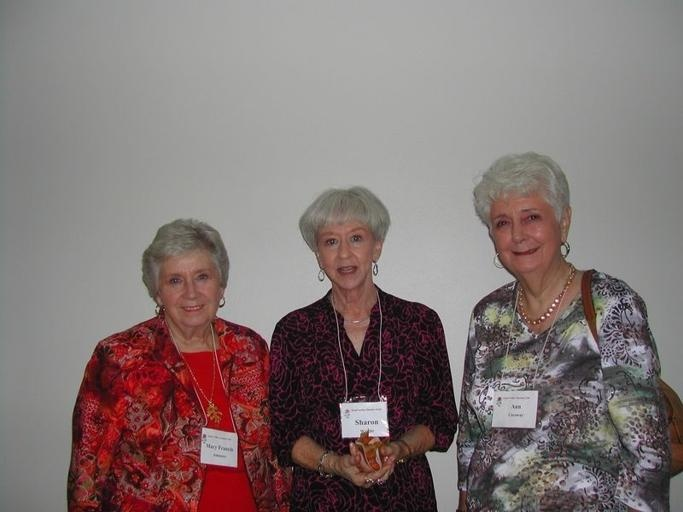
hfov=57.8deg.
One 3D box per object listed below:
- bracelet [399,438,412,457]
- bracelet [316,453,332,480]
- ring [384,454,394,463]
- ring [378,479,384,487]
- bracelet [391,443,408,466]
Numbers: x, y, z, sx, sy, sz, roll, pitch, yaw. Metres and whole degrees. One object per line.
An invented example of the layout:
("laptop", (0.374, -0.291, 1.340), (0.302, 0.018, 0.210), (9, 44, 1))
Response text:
("bracelet", (0.364, 1.062, 3.440), (0.019, 0.073, 0.077), (-30, -25, -7))
("bracelet", (-0.103, 1.163, 3.432), (0.042, 0.131, 0.107), (-1, 4, -5))
("ring", (0.255, 1.098, 3.350), (0.044, 0.048, 0.015), (-22, 3, -2))
("ring", (0.225, 1.259, 3.449), (0.036, 0.011, 0.039), (-10, -59, -17))
("bracelet", (0.313, 1.092, 3.455), (0.086, 0.129, 0.101), (4, 0, 44))
